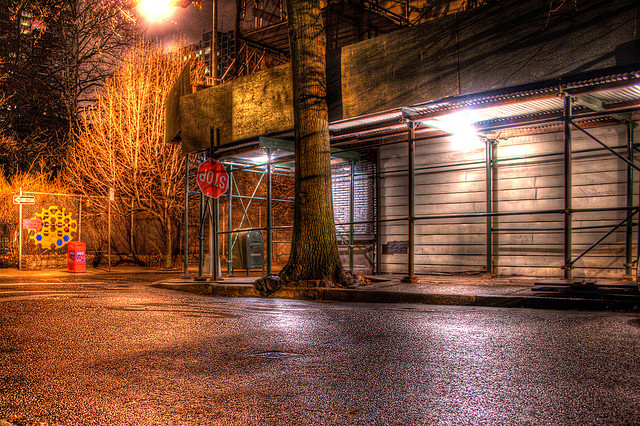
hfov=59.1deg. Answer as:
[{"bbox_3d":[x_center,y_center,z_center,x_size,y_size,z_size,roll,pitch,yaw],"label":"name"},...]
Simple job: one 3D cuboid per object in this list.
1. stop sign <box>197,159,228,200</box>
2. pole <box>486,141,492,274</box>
[{"bbox_3d":[-3.269,-1.070,17.145,0.885,1.154,0.348,2,-5,-12],"label":"stop sign"},{"bbox_3d":[4.951,-0.172,16.689,0.187,3.909,0.296,-1,-5,16],"label":"pole"}]
